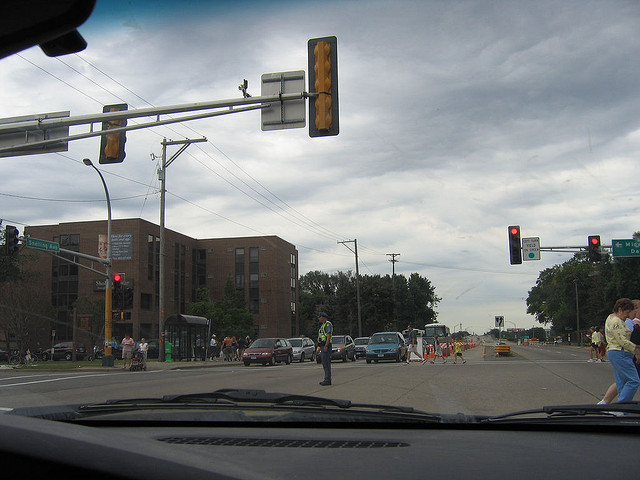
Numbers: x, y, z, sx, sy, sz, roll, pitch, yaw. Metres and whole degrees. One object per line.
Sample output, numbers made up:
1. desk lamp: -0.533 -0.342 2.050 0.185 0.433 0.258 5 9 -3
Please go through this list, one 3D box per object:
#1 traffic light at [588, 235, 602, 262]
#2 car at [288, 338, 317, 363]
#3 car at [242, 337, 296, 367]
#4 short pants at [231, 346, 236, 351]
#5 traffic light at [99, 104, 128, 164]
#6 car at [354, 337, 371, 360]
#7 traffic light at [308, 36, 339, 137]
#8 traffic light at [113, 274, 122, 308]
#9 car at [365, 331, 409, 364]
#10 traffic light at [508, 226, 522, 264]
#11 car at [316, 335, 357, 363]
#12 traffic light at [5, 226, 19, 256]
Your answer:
1. traffic light: 12.248 0.353 30.407 0.481 1.093 3.300 -4 -11 22
2. car: -1.101 6.342 39.610 1.014 0.787 2.252 -1 -3 13
3. car: -2.410 5.394 33.155 1.172 0.898 2.589 -6 -15 20
4. short pants: -5.248 6.561 41.393 0.318 0.292 0.171 -1 -8 5
5. traffic light: -4.584 -2.445 15.153 0.522 1.315 1.158 3 -10 -18
6. car: 2.645 6.721 43.280 1.060 0.994 2.288 -2 -14 5
7. traffic light: 0.052 -2.808 12.442 0.547 1.655 0.803 0 -10 -1
8. traffic light: -8.816 2.234 29.760 0.388 1.395 0.767 3 -10 -17
9. car: 2.976 4.795 30.389 1.772 1.430 3.125 -1 -10 6
10. traffic light: 7.935 0.148 27.789 0.422 1.544 1.043 -3 -10 16
11. car: 0.888 5.620 35.775 1.650 1.349 3.627 -3 -14 13
12. traffic light: -10.004 -0.019 22.134 0.342 0.729 1.471 4 -11 -22
